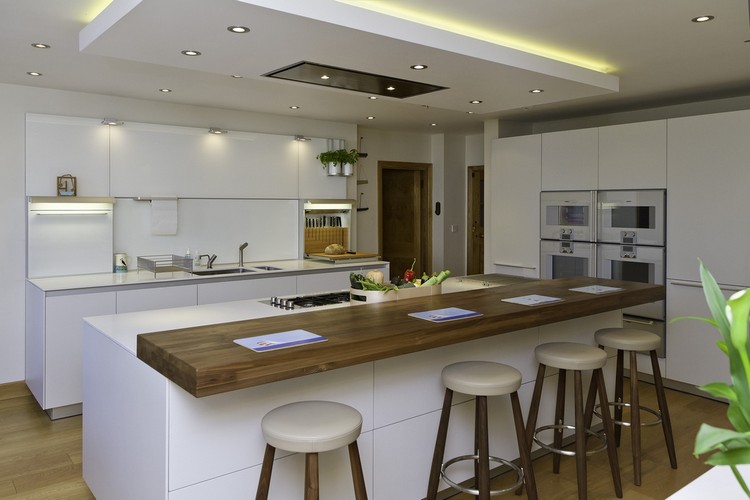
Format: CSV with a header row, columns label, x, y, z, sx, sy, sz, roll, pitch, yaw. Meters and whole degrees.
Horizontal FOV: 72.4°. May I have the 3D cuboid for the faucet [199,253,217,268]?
label,x,y,z,sx,sy,sz,roll,pitch,yaw
faucet,-2.000,0.124,6.242,0.253,0.167,0.263,-6,4,-36

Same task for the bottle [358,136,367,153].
label,x,y,z,sx,sy,sz,roll,pitch,yaw
bottle,-0.211,-1.645,7.923,0.040,0.239,0.160,0,5,44

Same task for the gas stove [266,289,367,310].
label,x,y,z,sx,sy,sz,roll,pitch,yaw
gas stove,-0.486,0.400,4.142,0.710,0.061,0.500,-5,3,-23

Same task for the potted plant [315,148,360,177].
label,x,y,z,sx,sy,sz,roll,pitch,yaw
potted plant,-0.499,-1.204,6.994,0.489,0.321,0.398,-1,2,-36

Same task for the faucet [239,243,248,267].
label,x,y,z,sx,sy,sz,roll,pitch,yaw
faucet,-1.657,0.050,6.428,0.128,0.294,0.374,-5,4,-15

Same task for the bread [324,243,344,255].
label,x,y,z,sx,sy,sz,roll,pitch,yaw
bread,-0.538,-0.012,6.735,0.236,0.129,0.189,-4,4,-18

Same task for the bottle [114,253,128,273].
label,x,y,z,sx,sy,sz,roll,pitch,yaw
bottle,-2.820,0.144,5.672,0.137,0.194,0.208,0,2,-21
